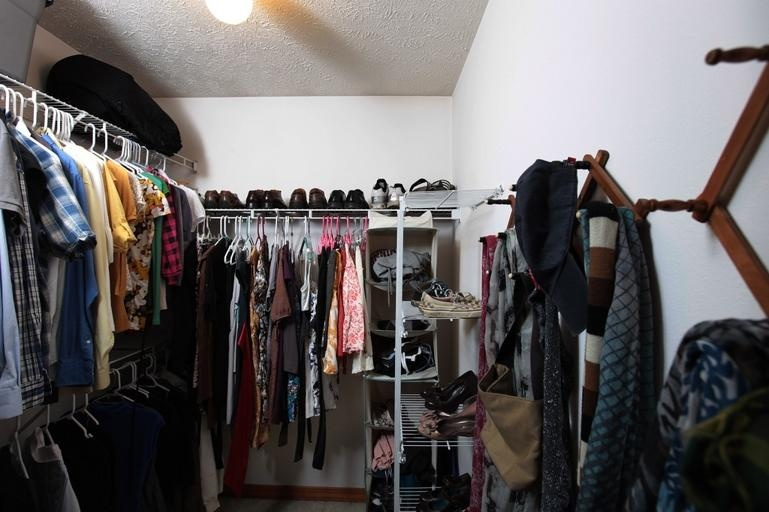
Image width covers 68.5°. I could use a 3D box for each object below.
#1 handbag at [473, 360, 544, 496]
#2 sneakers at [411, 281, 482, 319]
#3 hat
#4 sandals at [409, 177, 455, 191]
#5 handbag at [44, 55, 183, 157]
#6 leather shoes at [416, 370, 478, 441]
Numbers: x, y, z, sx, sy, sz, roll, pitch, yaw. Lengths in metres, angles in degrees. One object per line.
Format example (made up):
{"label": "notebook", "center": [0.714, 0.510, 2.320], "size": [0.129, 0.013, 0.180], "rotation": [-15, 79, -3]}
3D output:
{"label": "handbag", "center": [0.359, 0.526, 1.951], "size": [0.268, 0.415, 0.471], "rotation": [-1, 6, -2]}
{"label": "sneakers", "center": [0.265, 0.190, 2.444], "size": [0.285, 0.131, 0.403], "rotation": [1, 0, 2]}
{"label": "hat", "center": [0.484, -0.041, 1.654], "size": [0.153, 0.444, 0.322], "rotation": [-3, 12, 17]}
{"label": "sandals", "center": [0.237, -0.350, 2.777], "size": [0.221, 0.082, 0.128], "rotation": [0, 2, 12]}
{"label": "handbag", "center": [-1.257, -0.719, 2.718], "size": [0.355, 0.234, 0.535], "rotation": [17, -8, 27]}
{"label": "leather shoes", "center": [0.264, 0.620, 2.341], "size": [0.231, 0.221, 0.476], "rotation": [1, 0, 9]}
